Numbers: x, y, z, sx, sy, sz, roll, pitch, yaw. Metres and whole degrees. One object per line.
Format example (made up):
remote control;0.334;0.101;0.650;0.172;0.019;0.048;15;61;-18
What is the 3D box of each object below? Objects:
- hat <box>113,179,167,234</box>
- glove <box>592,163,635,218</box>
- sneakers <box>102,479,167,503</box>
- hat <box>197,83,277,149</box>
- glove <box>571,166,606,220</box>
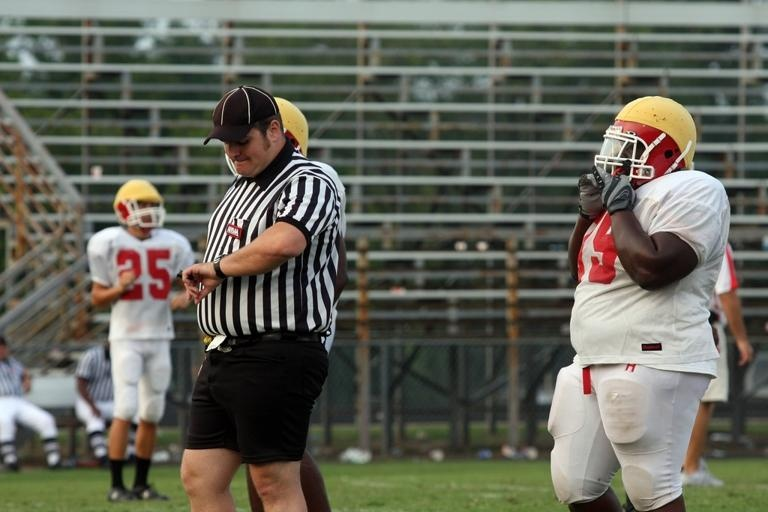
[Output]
hat;-2.423;-0.492;17.177;0.543;0.419;0.416;2;3;27
glove;1.894;-0.539;14.646;0.180;0.369;0.268;-21;-24;-50
sneakers;-2.356;2.257;16.654;0.600;0.206;0.187;-1;-8;-5
hat;-1.247;-1.223;14.742;0.481;0.350;0.712;15;36;42
glove;1.742;-0.534;14.969;0.320;0.382;0.174;-6;23;-39
